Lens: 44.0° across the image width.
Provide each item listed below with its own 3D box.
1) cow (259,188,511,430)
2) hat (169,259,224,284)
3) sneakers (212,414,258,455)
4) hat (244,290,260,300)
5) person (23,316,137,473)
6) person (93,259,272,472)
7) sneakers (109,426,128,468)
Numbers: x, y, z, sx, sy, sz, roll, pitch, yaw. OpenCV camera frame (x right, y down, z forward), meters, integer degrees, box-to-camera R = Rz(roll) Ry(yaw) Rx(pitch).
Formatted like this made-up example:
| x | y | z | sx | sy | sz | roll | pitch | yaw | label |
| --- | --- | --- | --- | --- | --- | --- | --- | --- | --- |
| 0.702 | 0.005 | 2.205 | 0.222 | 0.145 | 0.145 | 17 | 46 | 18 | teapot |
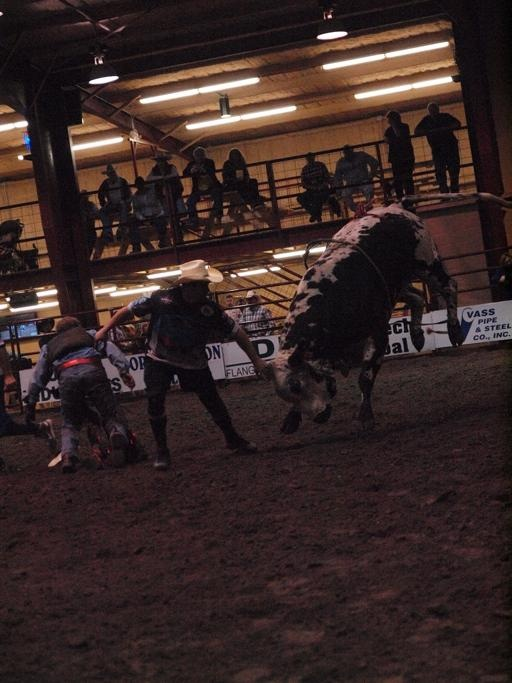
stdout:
| x | y | z | sx | sy | sz | roll | pitch | yaw | label |
| --- | --- | --- | --- | --- | --- | --- | --- | --- | --- |
| 1.076 | -0.423 | 5.836 | 0.634 | 2.161 | 3.258 | -15 | -2 | 39 | cow |
| -0.450 | -0.522 | 4.810 | 0.309 | 0.110 | 0.222 | 4 | 6 | 2 | hat |
| -0.164 | 0.731 | 4.942 | 0.263 | 0.300 | 0.289 | -13 | -1 | 8 | sneakers |
| -0.085 | -0.955 | 12.972 | 0.236 | 0.118 | 0.295 | -2 | -24 | 1 | hat |
| -1.806 | 0.457 | 6.442 | 1.109 | 1.802 | 0.670 | -19 | -28 | -4 | person |
| -0.497 | 0.166 | 4.975 | 1.036 | 1.637 | 0.475 | -13 | -1 | 7 | person |
| -1.246 | 0.959 | 5.823 | 0.136 | 0.330 | 0.153 | -3 | 8 | -9 | sneakers |
